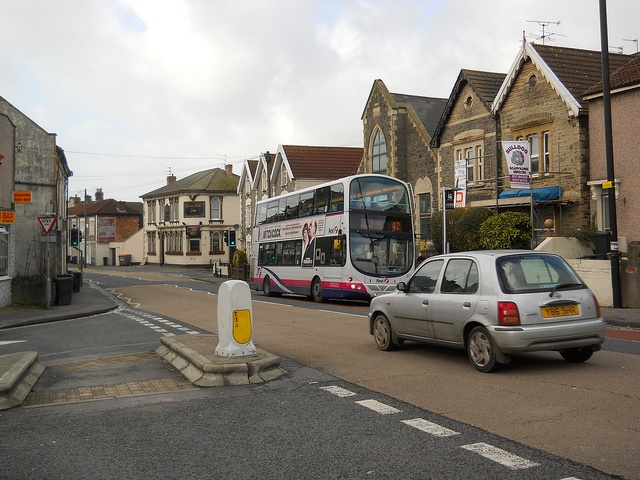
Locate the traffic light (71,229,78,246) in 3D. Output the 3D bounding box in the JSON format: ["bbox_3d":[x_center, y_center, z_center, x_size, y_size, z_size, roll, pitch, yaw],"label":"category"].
[{"bbox_3d":[-16.738,-0.160,34.136,0.420,1.030,1.608,-1,-1,-23],"label":"traffic light"}]

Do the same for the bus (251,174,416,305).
[{"bbox_3d":[-0.128,0.238,26.578,3.793,5.808,12.644,-1,-1,-31],"label":"bus"}]

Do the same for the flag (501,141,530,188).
[{"bbox_3d":[9.684,-3.711,24.554,1.397,1.904,0.413,-1,-1,-17],"label":"flag"}]

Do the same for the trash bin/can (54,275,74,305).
[{"bbox_3d":[-11.973,2.398,23.302,0.666,1.305,0.960,-1,-1,-30],"label":"trash bin/can"}]
